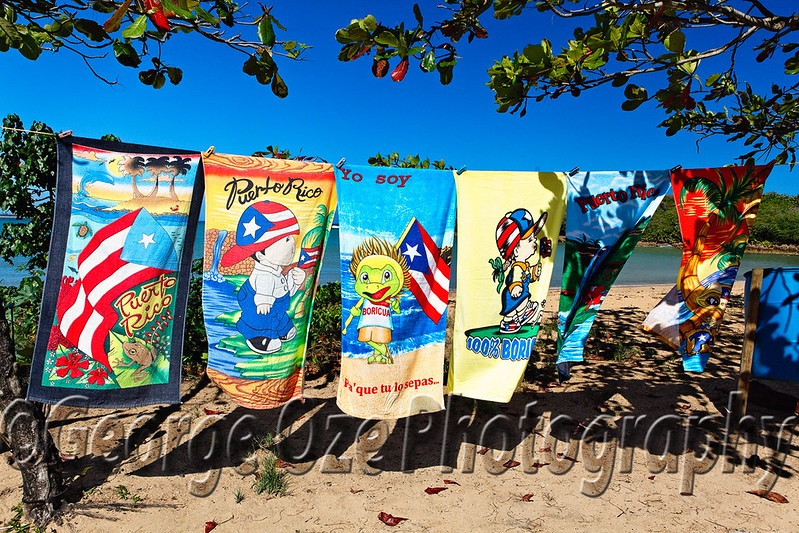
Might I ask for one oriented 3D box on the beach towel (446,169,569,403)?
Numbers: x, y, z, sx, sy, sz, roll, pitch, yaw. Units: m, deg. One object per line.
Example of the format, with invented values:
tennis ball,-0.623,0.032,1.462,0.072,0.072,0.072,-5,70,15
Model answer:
beach towel,1.152,0.230,7.035,1.190,2.628,0.353,3,6,-16
